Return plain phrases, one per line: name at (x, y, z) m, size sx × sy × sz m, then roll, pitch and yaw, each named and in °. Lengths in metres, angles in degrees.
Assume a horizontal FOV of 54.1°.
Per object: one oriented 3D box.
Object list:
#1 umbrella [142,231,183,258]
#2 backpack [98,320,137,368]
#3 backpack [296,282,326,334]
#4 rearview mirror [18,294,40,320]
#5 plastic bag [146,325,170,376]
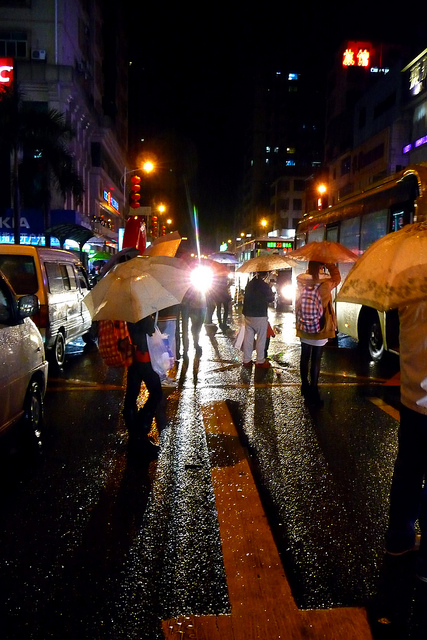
umbrella at (-0.595, -0.982, 5.109) m, size 0.391 × 0.391 × 0.603 m, roll -1°, pitch 0°, yaw 1°
backpack at (-0.930, 0.209, 3.966) m, size 0.304 × 0.443 × 0.151 m, roll 0°, pitch 0°, yaw -10°
backpack at (1.445, -0.262, 6.101) m, size 0.422 × 0.879 × 0.455 m, roll -12°, pitch 17°, yaw -33°
rearview mirror at (-1.826, -0.154, 4.136) m, size 0.185 × 0.239 × 0.327 m, roll 0°, pitch -1°, yaw -27°
plastic bag at (-0.522, 0.342, 4.612) m, size 0.075 × 0.493 × 0.600 m, roll -12°, pitch 3°, yaw 21°
